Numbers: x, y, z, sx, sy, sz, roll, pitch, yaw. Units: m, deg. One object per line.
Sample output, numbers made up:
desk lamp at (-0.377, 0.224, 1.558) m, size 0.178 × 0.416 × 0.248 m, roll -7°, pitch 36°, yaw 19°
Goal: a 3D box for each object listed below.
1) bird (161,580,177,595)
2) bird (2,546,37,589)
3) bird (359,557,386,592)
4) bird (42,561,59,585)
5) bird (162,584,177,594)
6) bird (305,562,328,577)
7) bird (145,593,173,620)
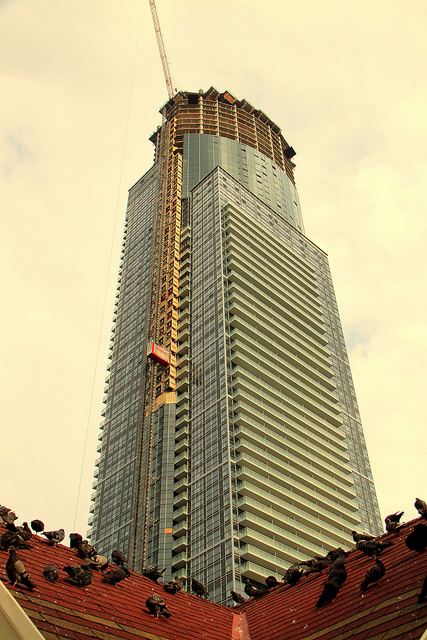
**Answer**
bird at (-1.964, 12.152, 41.848) m, size 0.580 × 0.499 × 0.410 m, roll 13°, pitch -36°, yaw 17°
bird at (-6.775, 8.674, 32.237) m, size 1.044 × 1.157 × 0.851 m, roll -3°, pitch -25°, yaw 3°
bird at (6.319, 9.665, 35.614) m, size 0.528 × 1.807 × 0.691 m, roll 27°, pitch -45°, yaw 35°
bird at (-6.010, 9.390, 34.086) m, size 0.511 × 0.688 × 0.365 m, roll -21°, pitch -2°, yaw -15°
bird at (-2.004, 12.207, 41.719) m, size 0.599 × 0.470 × 0.433 m, roll 0°, pitch -39°, yaw 0°
bird at (4.681, 11.406, 42.253) m, size 1.016 × 0.636 × 0.373 m, roll -31°, pitch -85°, yaw 16°
bird at (-2.185, 11.283, 36.250) m, size 0.786 × 1.017 × 0.695 m, roll -39°, pitch -22°, yaw -12°
